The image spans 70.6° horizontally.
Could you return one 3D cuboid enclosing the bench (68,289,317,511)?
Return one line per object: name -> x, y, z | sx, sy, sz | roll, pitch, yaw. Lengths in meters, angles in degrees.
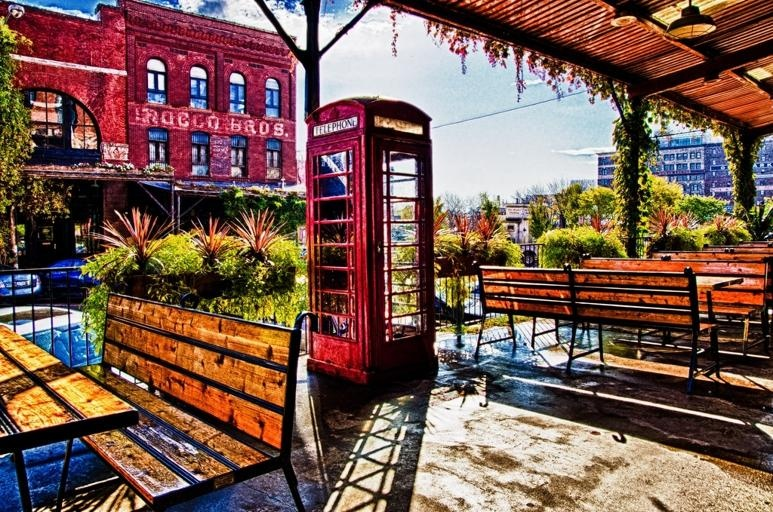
bench -> -1.982, 1.492, 5.404 | 0.914, 0.979, 1.980 | 5, -2, -40
